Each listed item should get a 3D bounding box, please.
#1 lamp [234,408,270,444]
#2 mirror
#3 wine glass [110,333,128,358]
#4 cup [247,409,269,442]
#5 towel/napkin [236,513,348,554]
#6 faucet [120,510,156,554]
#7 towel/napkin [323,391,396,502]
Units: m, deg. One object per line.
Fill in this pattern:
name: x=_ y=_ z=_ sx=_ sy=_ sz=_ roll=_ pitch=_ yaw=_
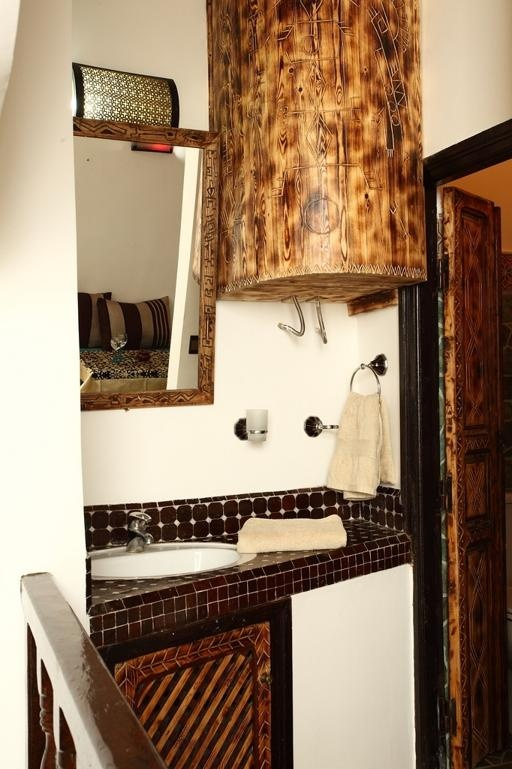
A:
lamp: x=-0.019 y=0.131 z=1.995 sx=0.084 sy=0.119 sz=0.114 roll=4 pitch=-8 yaw=-27
mirror: x=-0.346 y=-0.376 z=2.065 sx=0.587 sy=0.942 sz=0.019 roll=-1 pitch=-1 yaw=39
wine glass: x=-0.402 y=-0.117 z=1.784 sx=0.052 sy=0.092 sz=0.051 roll=1 pitch=0 yaw=-29
cup: x=0.004 y=0.135 z=1.958 sx=0.076 sy=0.146 sz=0.089 roll=-1 pitch=-8 yaw=4
towel/napkin: x=0.111 y=0.448 z=1.883 sx=0.319 sy=0.055 sz=0.373 roll=-1 pitch=4 yaw=2
faucet: x=-0.341 y=0.429 z=1.770 sx=0.081 sy=0.137 sz=0.079 roll=-4 pitch=-3 yaw=-4
towel/napkin: x=0.360 y=0.224 z=2.111 sx=0.115 sy=0.469 sz=0.269 roll=24 pitch=-24 yaw=-34
